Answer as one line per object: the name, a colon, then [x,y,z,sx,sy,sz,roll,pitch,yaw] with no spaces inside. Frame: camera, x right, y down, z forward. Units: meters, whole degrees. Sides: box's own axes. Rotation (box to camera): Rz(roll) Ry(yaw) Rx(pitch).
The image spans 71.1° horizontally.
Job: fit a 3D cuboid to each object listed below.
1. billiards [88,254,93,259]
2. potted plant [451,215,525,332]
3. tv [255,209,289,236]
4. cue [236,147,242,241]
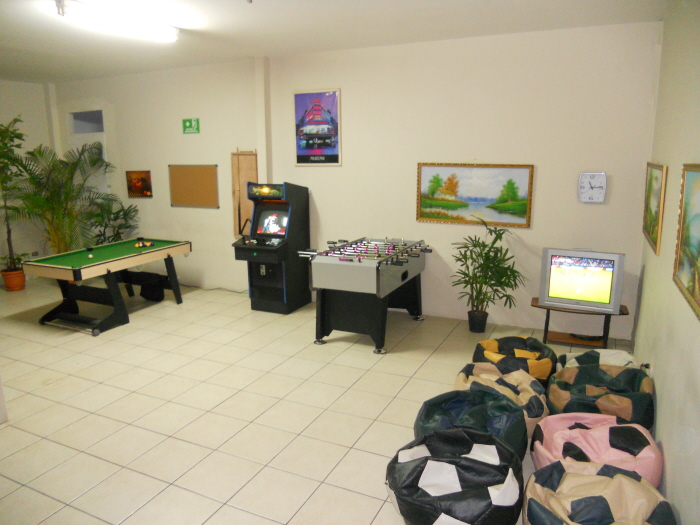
billiards: [-3.388,-0.080,6.424,0.070,0.045,0.073,9,-12,34]
potted plant: [1.639,0.228,6.027,0.843,1.297,0.785,8,-5,-32]
tv: [-1.041,-0.533,6.680,0.517,0.334,0.202,6,12,26]
cue: [-1.644,-1.023,7.253,0.065,1.197,0.107,-9,15,-41]
